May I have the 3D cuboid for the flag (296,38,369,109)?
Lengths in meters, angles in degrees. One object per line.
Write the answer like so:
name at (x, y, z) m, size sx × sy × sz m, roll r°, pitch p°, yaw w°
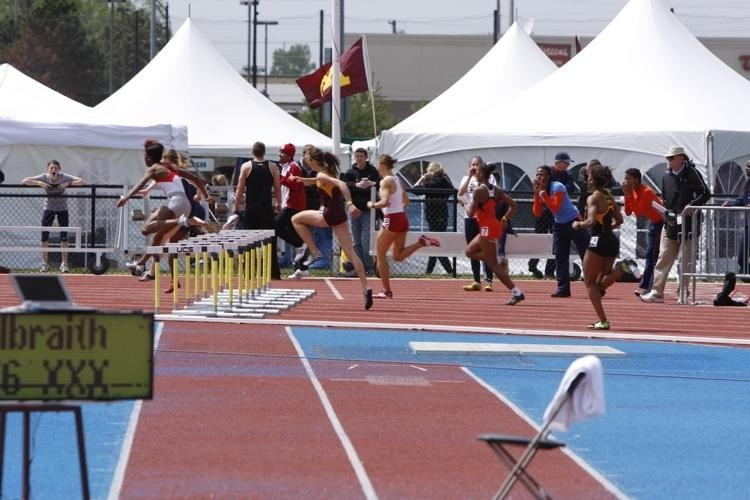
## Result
flag at (-0.856, -3.863, 22.763) m, size 0.877 × 1.451 × 1.905 m, roll -3°, pitch 8°, yaw -44°

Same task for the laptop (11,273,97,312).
laptop at (-2.293, 0.301, 7.192) m, size 0.537 × 0.220 × 0.499 m, roll 1°, pitch 6°, yaw -13°

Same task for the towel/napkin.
towel/napkin at (1.360, 0.998, 7.074) m, size 0.385 × 0.546 × 0.265 m, roll 3°, pitch 5°, yaw 15°

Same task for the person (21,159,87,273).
person at (-6.272, -0.485, 20.361) m, size 0.936 × 2.515 × 1.016 m, roll 0°, pitch 1°, yaw -12°
